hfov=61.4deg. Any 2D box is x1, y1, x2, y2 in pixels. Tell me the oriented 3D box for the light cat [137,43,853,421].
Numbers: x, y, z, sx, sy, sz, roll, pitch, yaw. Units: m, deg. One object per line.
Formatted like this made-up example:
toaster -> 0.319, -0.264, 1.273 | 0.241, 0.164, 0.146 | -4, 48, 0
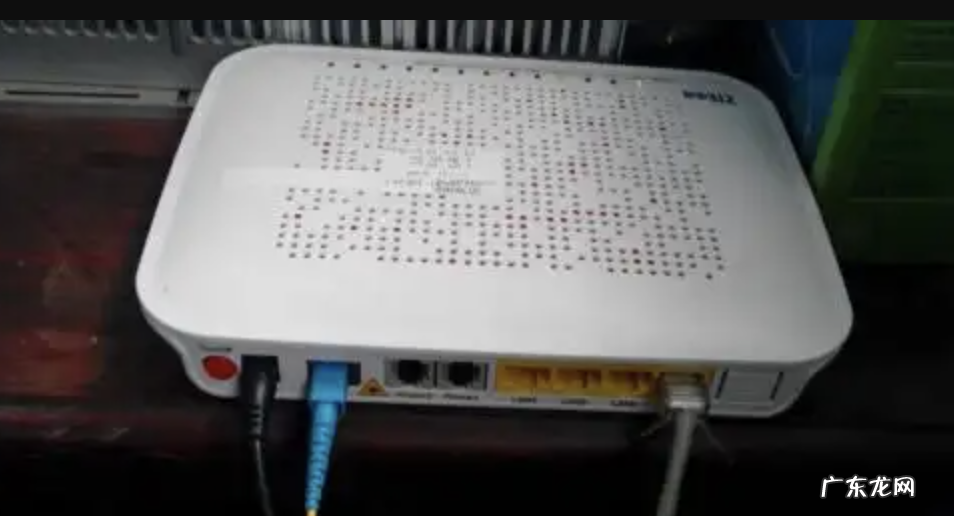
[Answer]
light cat -> 0.039, -0.074, 1.286 | 1.037, 0.198, 0.616 | 2, 53, 1
